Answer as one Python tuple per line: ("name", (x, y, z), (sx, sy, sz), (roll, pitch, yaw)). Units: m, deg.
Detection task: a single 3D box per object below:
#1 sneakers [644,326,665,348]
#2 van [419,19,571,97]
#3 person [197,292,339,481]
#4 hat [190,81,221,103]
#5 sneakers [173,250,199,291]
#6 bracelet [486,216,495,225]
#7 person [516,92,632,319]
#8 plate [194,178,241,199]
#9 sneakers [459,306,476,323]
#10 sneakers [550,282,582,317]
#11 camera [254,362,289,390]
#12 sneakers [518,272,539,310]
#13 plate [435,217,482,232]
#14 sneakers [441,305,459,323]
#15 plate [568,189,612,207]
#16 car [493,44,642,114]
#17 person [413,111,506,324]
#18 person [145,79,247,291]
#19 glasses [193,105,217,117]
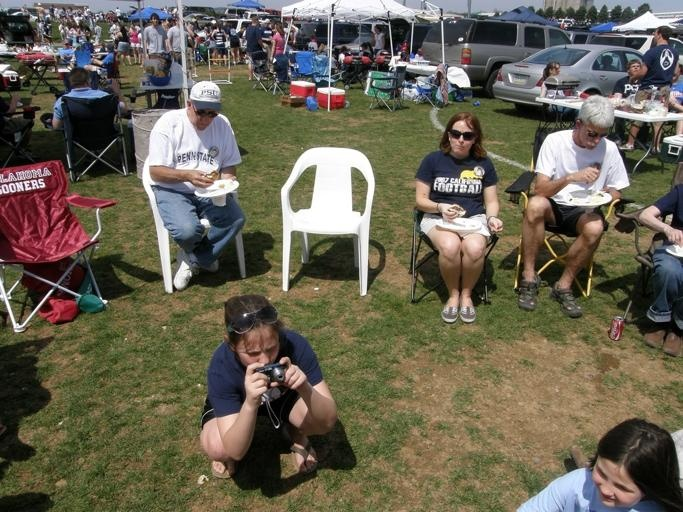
("sneakers", (2.598, 0.673, 4.112), (0.095, 0.111, 0.288), (3, 2, 33))
("van", (4.583, -5.744, 14.260), (3.673, 1.394, 1.972), (-13, 24, -22))
("person", (-0.503, 0.764, 2.899), (0.752, 1.031, 0.714), (-11, 24, -26))
("hat", (-1.220, -1.445, 4.410), (0.261, 0.170, 0.216), (-6, 25, -18))
("sneakers", (-1.468, 0.142, 4.733), (0.191, 0.439, 0.154), (-8, -18, 18))
("bracelet", (1.302, -0.309, 4.350), (0.064, 0.017, 0.063), (7, 28, 8))
("person", (2.055, -0.352, 4.485), (0.779, 1.569, 0.982), (15, 27, 27))
("plate", (-1.146, -0.576, 4.567), (0.384, 0.183, 0.406), (-5, 24, -16))
("sneakers", (1.107, 0.504, 4.332), (0.154, 0.125, 0.151), (7, 24, 12))
("sneakers", (2.047, 0.398, 4.524), (0.125, 0.149, 0.328), (-12, 38, -3))
("camera", (-0.367, 0.617, 2.589), (0.164, 0.108, 0.091), (1, 24, -2))
("sneakers", (1.714, 0.338, 4.545), (0.124, 0.156, 0.365), (0, 31, 24))
("plate", (1.030, -0.261, 4.315), (0.270, 0.069, 0.167), (8, 24, 20))
("sneakers", (0.943, 0.508, 4.322), (0.131, 0.123, 0.119), (5, 24, 8))
("plate", (2.230, -0.498, 4.468), (0.355, 0.121, 0.365), (13, 25, 23))
("car", (5.779, -4.057, 11.535), (3.554, 1.113, 1.589), (-15, 23, -24))
("person", (1.018, -0.359, 4.396), (0.757, 1.653, 0.938), (5, 24, 7))
("person", (-1.352, -0.666, 4.651), (0.824, 1.802, 0.713), (-8, 26, -21))
("glasses", (-1.212, -1.276, 4.421), (0.196, 0.101, 0.077), (-4, 24, -14))
